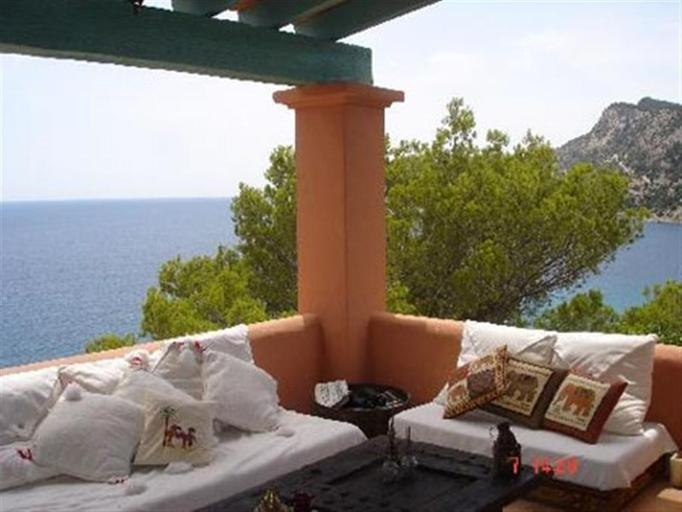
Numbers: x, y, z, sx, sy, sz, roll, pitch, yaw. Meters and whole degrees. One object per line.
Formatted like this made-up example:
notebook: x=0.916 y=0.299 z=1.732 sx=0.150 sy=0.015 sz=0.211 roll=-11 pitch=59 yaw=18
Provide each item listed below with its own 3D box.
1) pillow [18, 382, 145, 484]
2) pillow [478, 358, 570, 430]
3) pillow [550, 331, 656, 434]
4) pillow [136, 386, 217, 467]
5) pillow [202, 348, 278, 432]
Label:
pillow: x=-1.383 y=0.989 z=3.118 sx=0.406 sy=0.144 sz=0.467 roll=19 pitch=40 yaw=-6
pillow: x=1.207 y=0.881 z=3.678 sx=0.409 sy=0.418 sz=0.114 roll=10 pitch=-22 yaw=50
pillow: x=1.660 y=0.822 z=3.576 sx=0.207 sy=0.439 sz=0.494 roll=-7 pitch=-4 yaw=-34
pillow: x=-0.984 y=0.966 z=3.374 sx=0.486 sy=0.173 sz=0.572 roll=14 pitch=25 yaw=-30
pillow: x=-0.646 y=0.908 z=3.746 sx=0.482 sy=0.145 sz=0.488 roll=25 pitch=39 yaw=-36
